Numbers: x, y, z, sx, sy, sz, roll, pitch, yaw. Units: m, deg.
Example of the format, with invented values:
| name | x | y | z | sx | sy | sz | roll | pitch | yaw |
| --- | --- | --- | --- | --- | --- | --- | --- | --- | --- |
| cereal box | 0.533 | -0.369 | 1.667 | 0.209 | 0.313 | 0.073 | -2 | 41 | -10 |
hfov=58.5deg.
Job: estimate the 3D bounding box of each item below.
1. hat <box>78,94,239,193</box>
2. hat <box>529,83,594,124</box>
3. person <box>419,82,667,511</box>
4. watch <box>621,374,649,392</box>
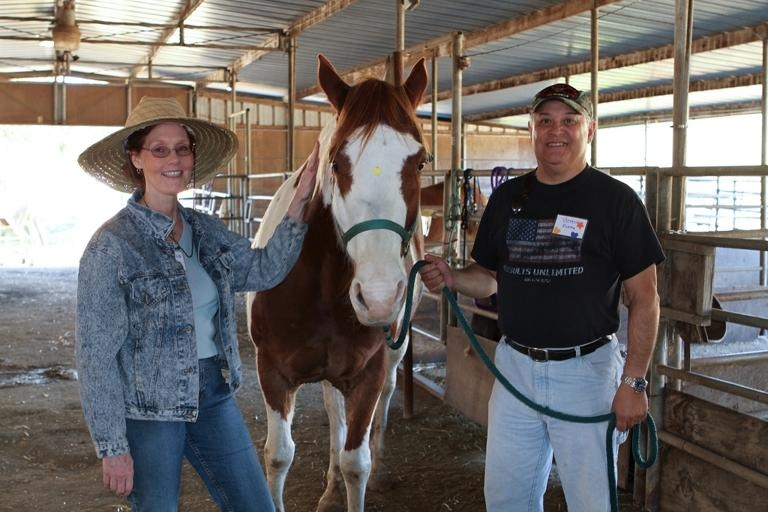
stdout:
| name | x | y | z | sx | sy | sz | roll | pitch | yaw |
| --- | --- | --- | --- | --- | --- | --- | --- | --- | --- |
| hat | -1.119 | -0.673 | 3.707 | 0.696 | 0.368 | 0.765 | -3 | -8 | 34 |
| hat | 0.973 | -0.861 | 3.816 | 0.308 | 0.170 | 0.448 | 8 | 1 | 6 |
| person | 0.928 | 0.228 | 3.709 | 1.061 | 2.310 | 0.540 | 2 | 7 | 24 |
| watch | 1.305 | 0.664 | 3.600 | 0.083 | 0.051 | 0.090 | 11 | -2 | 3 |
